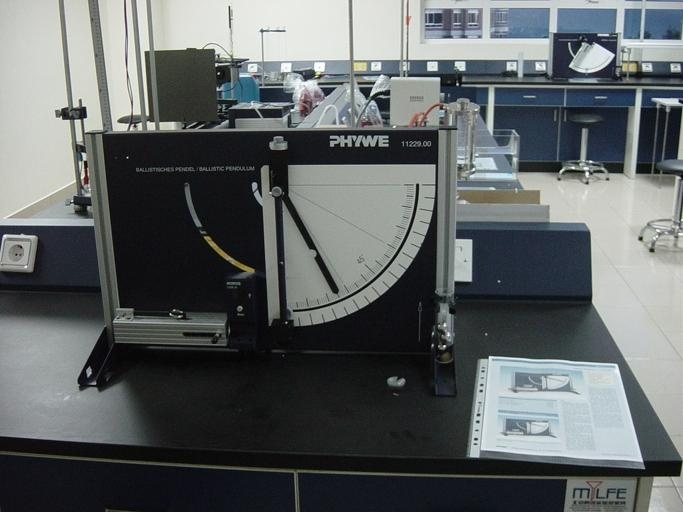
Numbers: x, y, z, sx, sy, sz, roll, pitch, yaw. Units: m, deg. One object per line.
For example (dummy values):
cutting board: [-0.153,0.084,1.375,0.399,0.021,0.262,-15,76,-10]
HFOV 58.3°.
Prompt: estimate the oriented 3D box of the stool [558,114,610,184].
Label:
stool: [2.547,-1.144,6.418,0.500,0.794,0.519,-10,20,-20]
